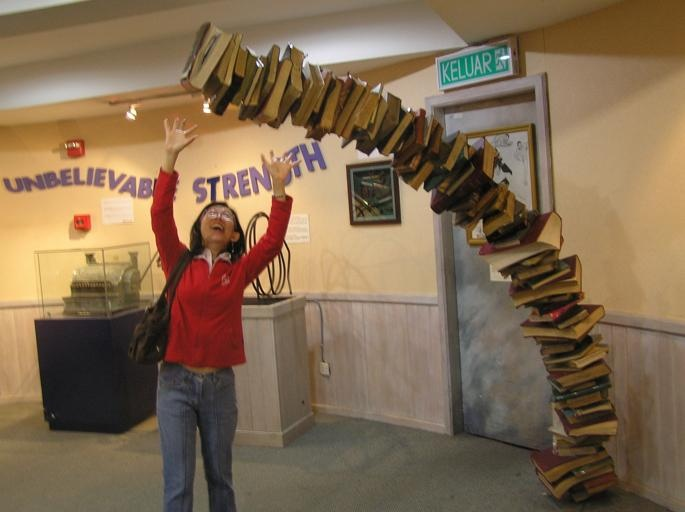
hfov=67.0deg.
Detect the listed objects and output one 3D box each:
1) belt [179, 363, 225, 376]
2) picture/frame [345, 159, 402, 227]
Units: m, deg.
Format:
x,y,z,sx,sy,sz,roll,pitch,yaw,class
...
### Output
x,y,z,sx,sy,sz,roll,pitch,yaw,class
-0.698,0.566,2.594,0.192,0.060,0.033,-6,8,-15,belt
0.280,-0.535,4.329,0.511,0.665,0.041,2,6,36,picture/frame
